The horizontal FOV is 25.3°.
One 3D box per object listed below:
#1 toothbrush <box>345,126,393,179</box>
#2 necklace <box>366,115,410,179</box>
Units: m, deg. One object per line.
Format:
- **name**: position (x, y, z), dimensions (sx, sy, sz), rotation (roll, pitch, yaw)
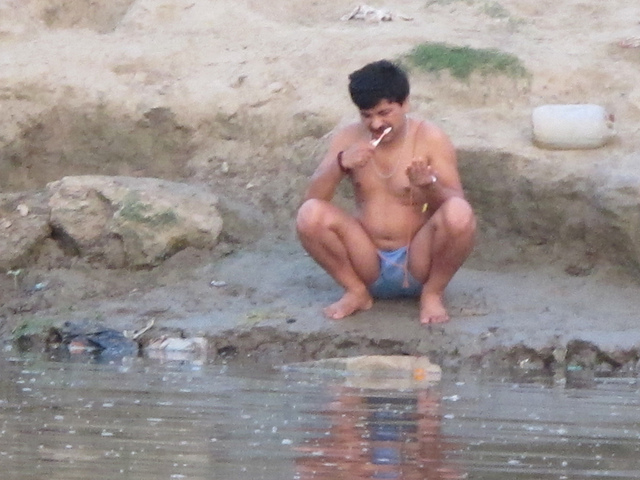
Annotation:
- **toothbrush**: position (0.375, -0.639, 10.881), dimensions (0.084, 0.474, 0.084), rotation (38, 21, -10)
- **necklace**: position (0.529, -0.696, 10.864), dimensions (0.283, 0.486, 0.091), rotation (3, -2, 36)
